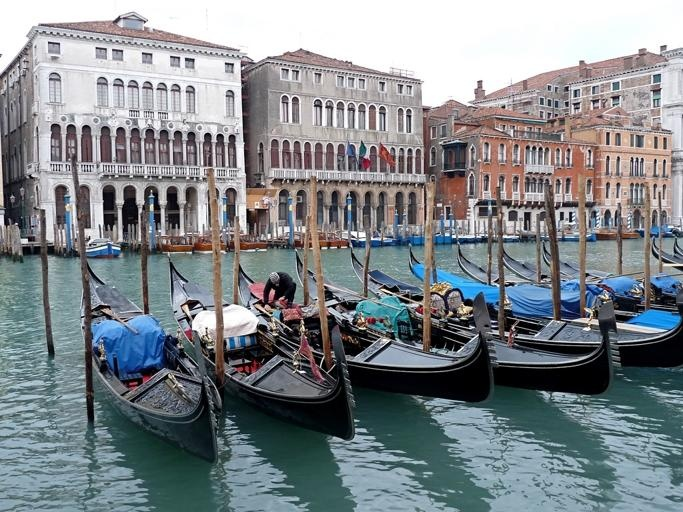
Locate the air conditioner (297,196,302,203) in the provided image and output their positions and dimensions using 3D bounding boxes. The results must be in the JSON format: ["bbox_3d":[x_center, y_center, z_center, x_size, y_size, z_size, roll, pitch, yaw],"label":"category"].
[{"bbox_3d":[-2.817,-3.755,54.668,0.134,0.441,0.519,1,4,36],"label":"air conditioner"}]

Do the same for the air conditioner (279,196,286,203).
[{"bbox_3d":[-3.876,-3.701,53.920,0.488,0.482,0.344,0,-6,-9],"label":"air conditioner"}]

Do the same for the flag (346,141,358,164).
[{"bbox_3d":[0.609,-6.931,55.544,0.140,1.447,1.421,-7,6,16],"label":"flag"}]

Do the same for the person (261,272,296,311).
[{"bbox_3d":[-1.383,0.740,18.998,0.610,0.977,0.949,3,15,25],"label":"person"}]
